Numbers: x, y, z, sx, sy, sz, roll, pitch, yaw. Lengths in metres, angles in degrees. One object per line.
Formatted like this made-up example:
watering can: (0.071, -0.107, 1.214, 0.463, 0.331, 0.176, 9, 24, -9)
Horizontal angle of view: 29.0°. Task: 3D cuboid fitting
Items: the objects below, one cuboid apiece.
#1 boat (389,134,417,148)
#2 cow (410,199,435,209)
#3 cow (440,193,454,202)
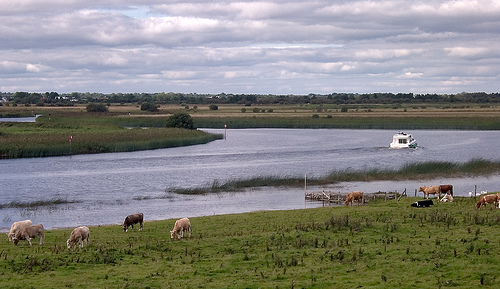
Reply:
boat: (36.725, -0.862, 231.238, 5.491, 3.253, 2.849, -2, 2, 16)
cow: (30.605, 10.615, 171.246, 3.973, 1.340, 1.862, -2, 2, -2)
cow: (35.536, 9.492, 173.834, 1.992, 1.356, 1.929, -2, 2, 11)
